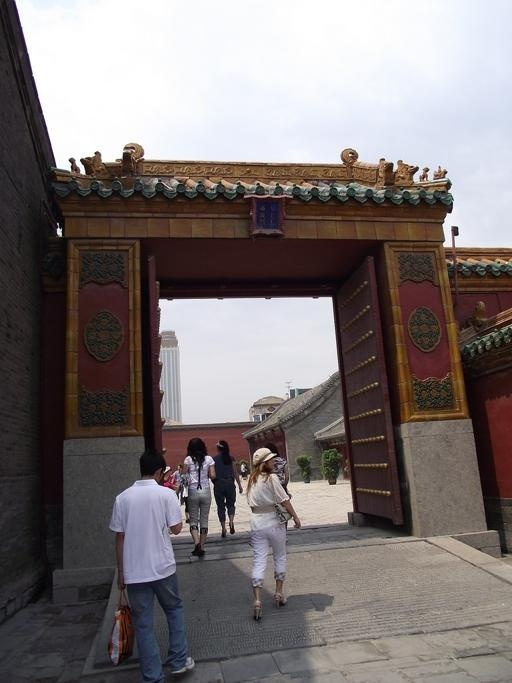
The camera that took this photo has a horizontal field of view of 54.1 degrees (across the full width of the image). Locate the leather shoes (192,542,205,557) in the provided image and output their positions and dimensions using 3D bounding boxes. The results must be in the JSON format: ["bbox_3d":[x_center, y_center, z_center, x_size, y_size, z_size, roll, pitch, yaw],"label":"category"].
[{"bbox_3d":[-0.642,2.298,5.482,0.081,0.084,0.189,2,-7,-3],"label":"leather shoes"}]

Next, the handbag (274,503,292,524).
[{"bbox_3d":[0.179,1.248,3.632,0.060,0.145,0.153,-36,-17,8],"label":"handbag"}]

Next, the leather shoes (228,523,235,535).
[{"bbox_3d":[-0.373,2.874,7.491,0.084,0.274,0.110,0,25,2],"label":"leather shoes"}]

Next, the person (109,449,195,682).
[{"bbox_3d":[-0.531,1.180,2.613,0.412,1.181,0.331,5,-16,-31],"label":"person"}]

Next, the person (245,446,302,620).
[{"bbox_3d":[0.126,1.406,3.836,0.377,1.148,0.657,-3,-13,-2],"label":"person"}]

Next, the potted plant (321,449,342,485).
[{"bbox_3d":[3.013,5.030,19.972,0.763,1.338,1.439,-5,-13,8],"label":"potted plant"}]

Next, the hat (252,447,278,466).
[{"bbox_3d":[0.037,0.888,3.854,0.192,0.095,0.154,-26,0,-6],"label":"hat"}]
